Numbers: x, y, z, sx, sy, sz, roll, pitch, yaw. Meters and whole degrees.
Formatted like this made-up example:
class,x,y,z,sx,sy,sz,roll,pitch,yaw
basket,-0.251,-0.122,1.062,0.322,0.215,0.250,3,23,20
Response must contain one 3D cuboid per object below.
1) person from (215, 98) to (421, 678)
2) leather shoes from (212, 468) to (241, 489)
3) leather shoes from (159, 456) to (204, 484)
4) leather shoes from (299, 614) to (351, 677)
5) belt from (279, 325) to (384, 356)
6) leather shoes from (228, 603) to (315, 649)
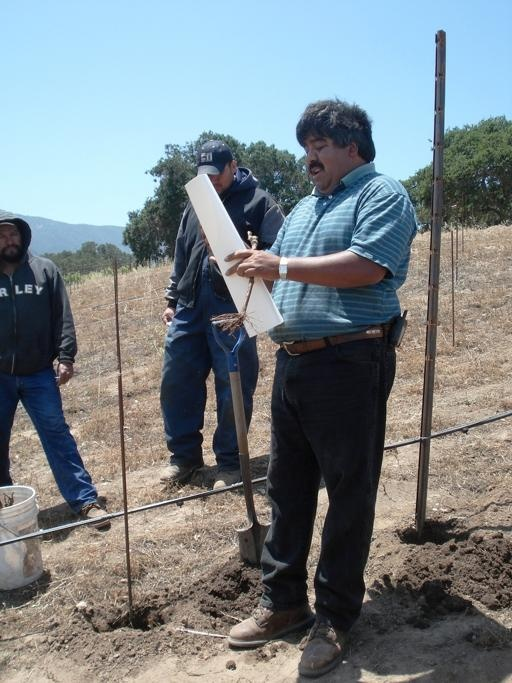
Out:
class,x,y,z,sx,sy,sz,roll,pitch,yaw
person,0.257,0.130,2.913,0.909,2.185,0.621,-13,11,-24
leather shoes,-0.199,0.891,4.626,0.107,0.127,0.313,-5,-11,20
leather shoes,-0.521,0.899,5.004,0.117,0.139,0.321,-1,-2,37
leather shoes,0.250,1.167,2.735,0.113,0.156,0.215,-1,12,39
belt,0.303,-0.012,2.786,0.213,0.046,0.174,-14,3,11
leather shoes,0.052,1.198,3.064,0.381,0.160,0.136,-8,7,-18
